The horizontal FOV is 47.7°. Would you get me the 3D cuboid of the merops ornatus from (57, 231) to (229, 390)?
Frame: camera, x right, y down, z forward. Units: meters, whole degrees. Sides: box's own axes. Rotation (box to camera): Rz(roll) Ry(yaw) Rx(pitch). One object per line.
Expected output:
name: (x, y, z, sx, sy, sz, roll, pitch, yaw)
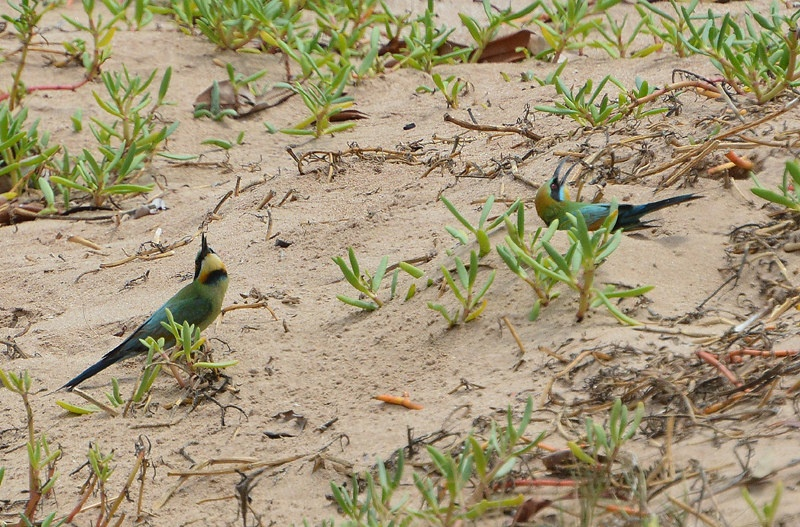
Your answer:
merops ornatus: (-1.531, 0.317, 5.320, 1.420, 0.334, 0.728, -22, 84, 20)
